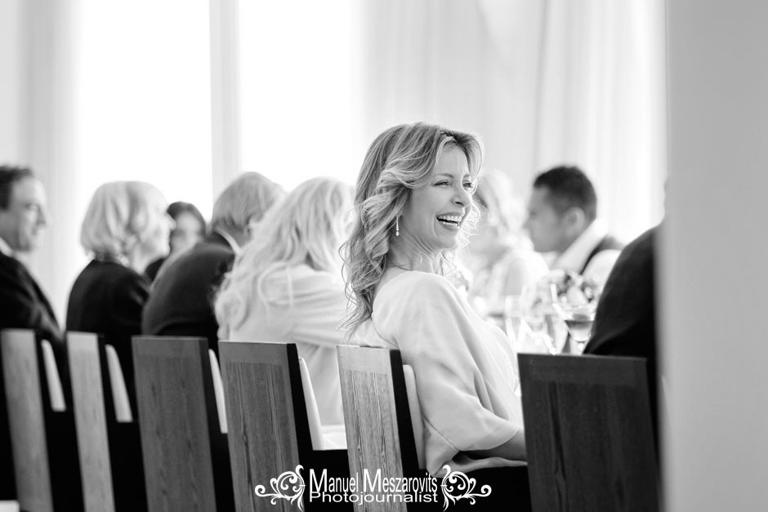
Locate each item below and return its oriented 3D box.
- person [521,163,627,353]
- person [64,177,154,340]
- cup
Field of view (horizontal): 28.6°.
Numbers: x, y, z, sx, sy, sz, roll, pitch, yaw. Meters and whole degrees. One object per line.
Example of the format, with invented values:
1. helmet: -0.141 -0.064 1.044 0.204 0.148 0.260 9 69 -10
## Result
1. person: 0.911 0.019 7.392 0.495 0.762 0.936 6 -5 9
2. person: -1.492 0.064 8.685 0.626 0.983 0.736 6 -8 -14
3. cup: 0.742 0.286 6.570 0.317 0.413 0.161 11 43 5
